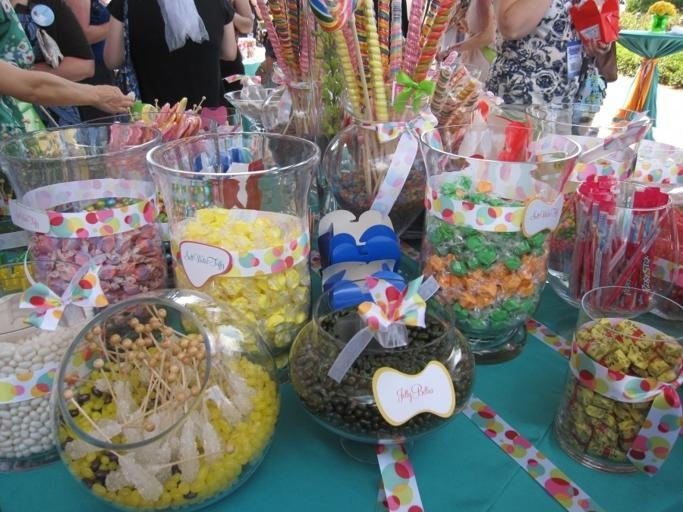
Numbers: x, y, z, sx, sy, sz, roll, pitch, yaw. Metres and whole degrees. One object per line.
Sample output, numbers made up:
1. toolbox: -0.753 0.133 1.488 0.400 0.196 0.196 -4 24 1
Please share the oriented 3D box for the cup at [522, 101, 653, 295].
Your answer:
1. cup: 0.676 -0.085 1.459 0.232 0.381 0.238 2 11 0
